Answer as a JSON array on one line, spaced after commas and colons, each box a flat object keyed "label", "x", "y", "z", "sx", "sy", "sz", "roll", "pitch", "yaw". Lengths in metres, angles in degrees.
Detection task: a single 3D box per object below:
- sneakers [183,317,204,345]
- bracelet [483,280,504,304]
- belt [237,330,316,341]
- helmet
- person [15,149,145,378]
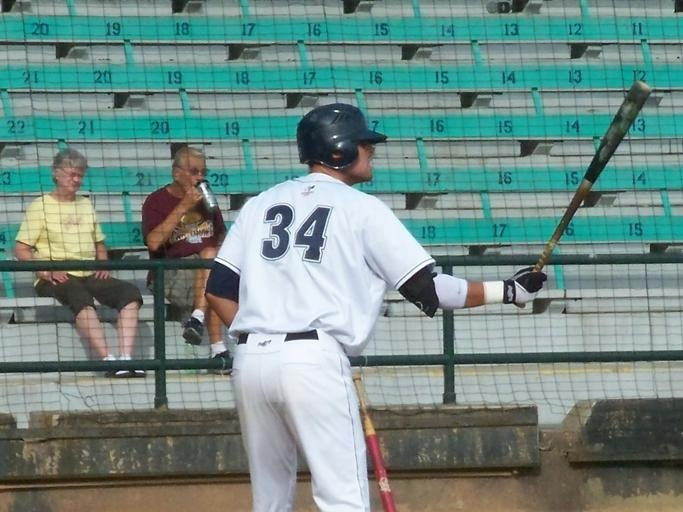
[{"label": "sneakers", "x": -1.358, "y": 0.711, "z": 20.600, "sx": 0.137, "sy": 0.270, "sz": 0.119, "roll": 4, "pitch": 20, "yaw": 8}, {"label": "bracelet", "x": 1.190, "y": 0.299, "z": 18.535, "sx": 0.227, "sy": 0.194, "sz": 0.165, "roll": -1, "pitch": 5, "yaw": 2}, {"label": "belt", "x": -0.527, "y": 0.672, "z": 18.243, "sx": 0.652, "sy": 0.115, "sz": 0.081, "roll": 2, "pitch": 19, "yaw": 11}, {"label": "helmet", "x": -0.033, "y": -0.924, "z": 18.589, "sx": 0.675, "sy": 0.438, "sz": 0.511, "roll": 3, "pitch": -7, "yaw": -13}, {"label": "person", "x": -2.400, "y": 0.042, "z": 20.513, "sx": 0.825, "sy": 1.743, "sz": 1.087, "roll": -15, "pitch": 22, "yaw": -33}]
